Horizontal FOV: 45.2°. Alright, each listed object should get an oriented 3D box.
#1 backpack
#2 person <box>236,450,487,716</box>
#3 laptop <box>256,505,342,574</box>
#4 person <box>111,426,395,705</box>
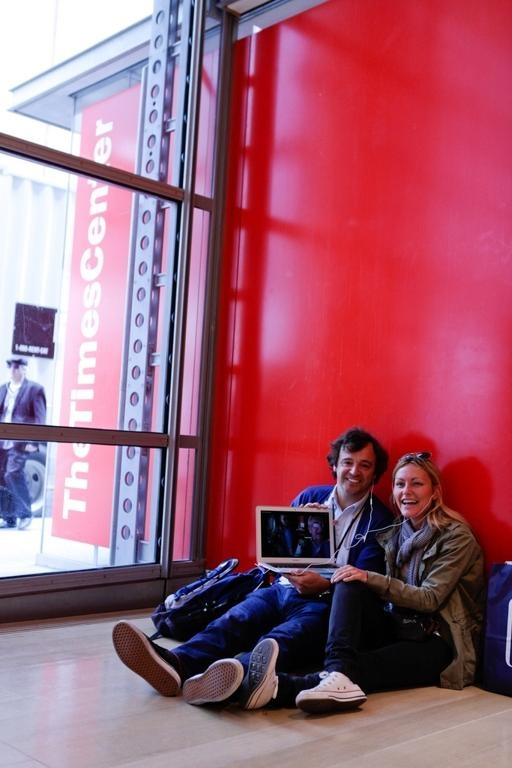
[{"bbox_3d":[-0.207,0.945,2.774,0.479,0.186,0.310,-28,-2,-27],"label":"backpack"},{"bbox_3d":[0.248,0.819,2.459,1.146,1.135,0.518,15,-22,-22],"label":"person"},{"bbox_3d":[0.170,0.640,2.553,0.361,0.252,0.251,1,-7,-12],"label":"laptop"},{"bbox_3d":[-0.013,0.632,2.475,0.575,0.857,1.421,1,1,40],"label":"person"}]
